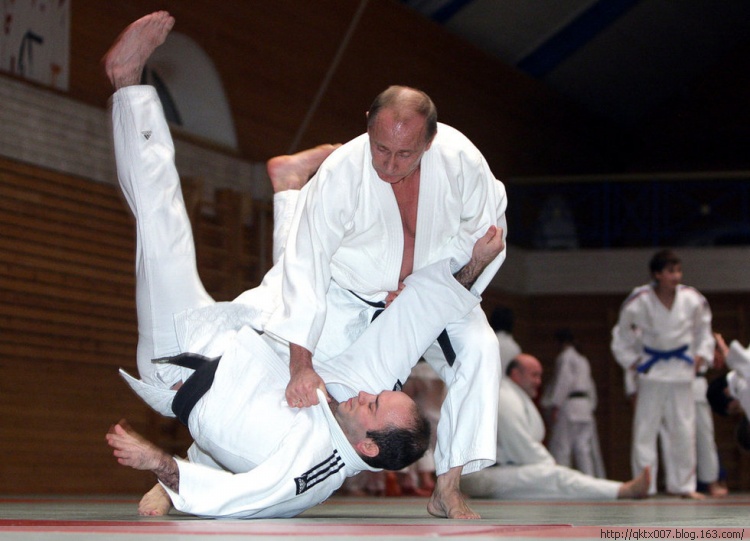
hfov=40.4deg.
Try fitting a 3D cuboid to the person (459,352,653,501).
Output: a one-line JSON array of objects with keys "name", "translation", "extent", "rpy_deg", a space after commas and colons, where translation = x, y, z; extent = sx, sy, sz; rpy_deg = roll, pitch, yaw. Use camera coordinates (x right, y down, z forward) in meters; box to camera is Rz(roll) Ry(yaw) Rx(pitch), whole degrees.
[{"name": "person", "translation": [1.030, 0.904, 5.773], "extent": [1.121, 0.804, 0.420], "rpy_deg": [-1, -10, 28]}]

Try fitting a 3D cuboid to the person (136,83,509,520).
[{"name": "person", "translation": [-0.036, 0.019, 4.721], "extent": [1.131, 1.399, 2.442], "rpy_deg": [8, -13, 3]}]
